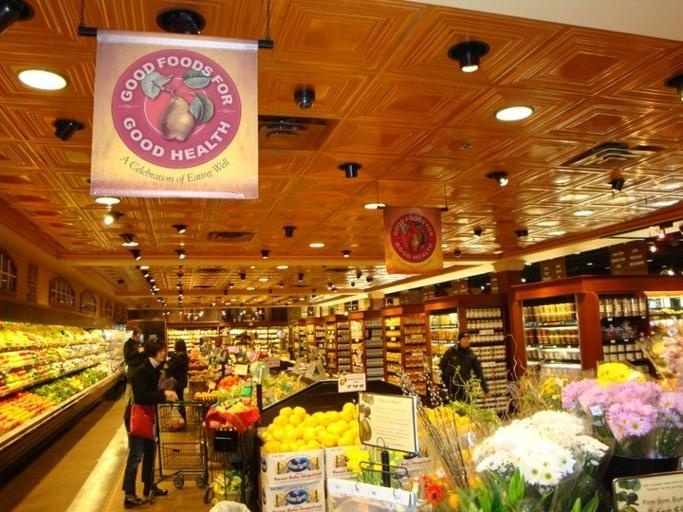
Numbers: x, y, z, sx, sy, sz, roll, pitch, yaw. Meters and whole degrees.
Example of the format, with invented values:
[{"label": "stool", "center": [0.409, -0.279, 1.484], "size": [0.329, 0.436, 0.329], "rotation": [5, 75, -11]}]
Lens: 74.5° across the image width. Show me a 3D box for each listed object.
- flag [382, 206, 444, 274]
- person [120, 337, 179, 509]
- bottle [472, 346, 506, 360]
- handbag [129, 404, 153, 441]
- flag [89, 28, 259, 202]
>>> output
[{"label": "flag", "center": [1.178, -0.283, 6.644], "size": [1.258, 1.162, 0.137], "rotation": [2, -12, -15]}, {"label": "person", "center": [-2.764, 2.298, 6.427], "size": [0.630, 2.191, 0.735], "rotation": [2, -11, -21]}, {"label": "bottle", "center": [3.968, 2.384, 11.152], "size": [0.652, 0.207, 0.442], "rotation": [-1, -5, 12]}, {"label": "handbag", "center": [-2.761, 2.256, 6.132], "size": [0.486, 0.433, 0.170], "rotation": [10, -20, -28]}, {"label": "flag", "center": [-0.980, -0.841, 2.632], "size": [1.199, 1.073, 0.058], "rotation": [1, -1, -6]}]
